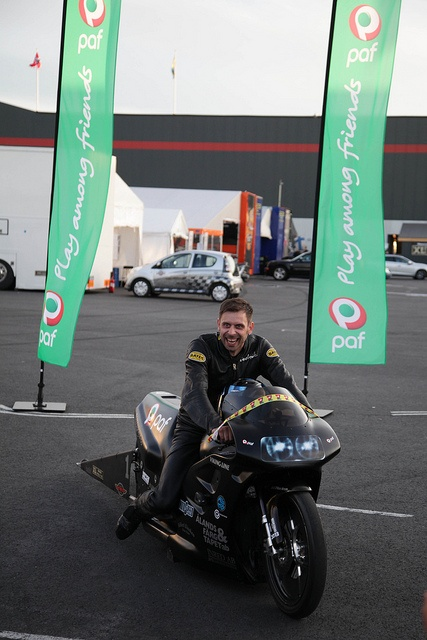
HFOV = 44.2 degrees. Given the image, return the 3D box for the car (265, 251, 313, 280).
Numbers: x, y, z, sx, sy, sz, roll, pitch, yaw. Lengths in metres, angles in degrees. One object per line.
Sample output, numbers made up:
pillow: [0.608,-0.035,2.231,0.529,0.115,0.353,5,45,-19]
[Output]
car: [6.350,-3.635,36.183,5.185,1.881,2.332,4,5,3]

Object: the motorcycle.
motorcycle: [-0.021,0.655,2.749,0.544,0.952,1.913,3,4,-29]

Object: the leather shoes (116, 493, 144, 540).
leather shoes: [-0.447,1.045,2.901,0.108,0.115,0.315,-30,-3,5]

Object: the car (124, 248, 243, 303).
car: [-1.013,-1.860,21.851,3.887,1.775,2.330,5,4,5]
